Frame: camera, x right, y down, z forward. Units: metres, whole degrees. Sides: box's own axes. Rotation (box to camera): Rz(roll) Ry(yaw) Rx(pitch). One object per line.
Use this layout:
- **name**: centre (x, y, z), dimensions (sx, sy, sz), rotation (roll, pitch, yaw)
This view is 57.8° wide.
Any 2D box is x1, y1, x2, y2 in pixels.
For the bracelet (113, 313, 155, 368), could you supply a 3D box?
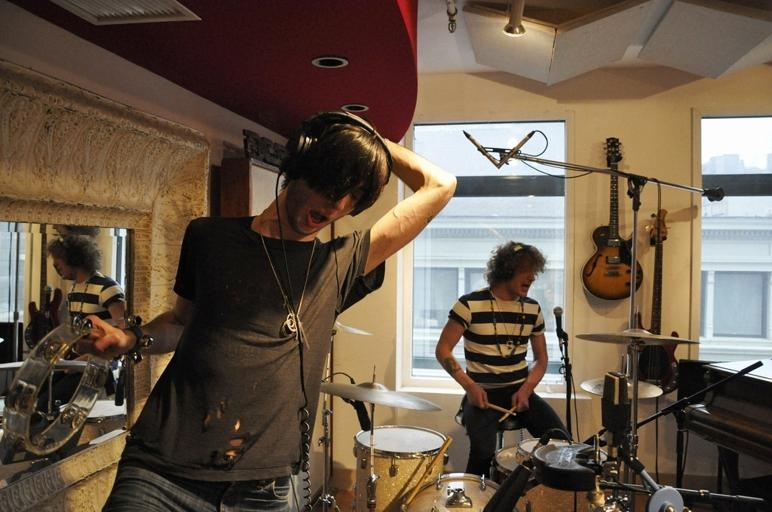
- **bracelet**: centre (-0.991, 0.352, 2.744), dimensions (0.072, 0.175, 0.167), rotation (8, 35, -49)

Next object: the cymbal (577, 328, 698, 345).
- **cymbal**: centre (1.661, 0.555, 4.616), dimensions (0.350, 0.069, 0.351), rotation (13, -19, -39)

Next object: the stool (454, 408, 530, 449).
- **stool**: centre (0.752, 1.328, 4.915), dimensions (0.459, 0.468, 0.352), rotation (1, -8, -6)

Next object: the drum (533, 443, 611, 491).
- **drum**: centre (0.783, 0.928, 3.062), dimensions (0.283, 0.130, 0.228), rotation (3, -2, 11)

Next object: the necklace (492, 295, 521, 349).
- **necklace**: centre (0.860, 0.490, 4.965), dimensions (0.173, 0.357, 0.065), rotation (4, -17, -4)

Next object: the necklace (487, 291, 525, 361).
- **necklace**: centre (0.866, 0.506, 4.941), dimensions (0.226, 0.416, 0.084), rotation (4, -14, -4)
